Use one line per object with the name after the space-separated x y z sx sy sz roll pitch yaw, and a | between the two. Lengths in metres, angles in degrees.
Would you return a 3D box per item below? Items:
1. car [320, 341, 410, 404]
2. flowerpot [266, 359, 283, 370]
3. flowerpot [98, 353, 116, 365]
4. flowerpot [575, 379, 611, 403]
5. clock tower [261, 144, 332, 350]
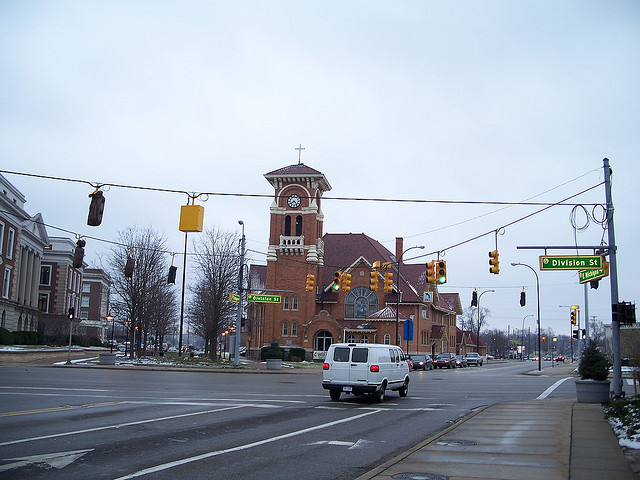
2.187 5.834 27.088 2.578 2.375 5.111 -1 -9 23 | car
-3.669 10.008 48.777 1.076 0.865 2.193 3 -14 -8 | flowerpot
-15.696 8.806 45.109 0.860 0.830 1.086 0 -6 -19 | flowerpot
10.406 5.863 23.350 1.168 0.855 0.772 -5 -14 25 | flowerpot
-3.227 1.672 70.293 5.658 21.634 3.160 -1 -12 14 | clock tower
